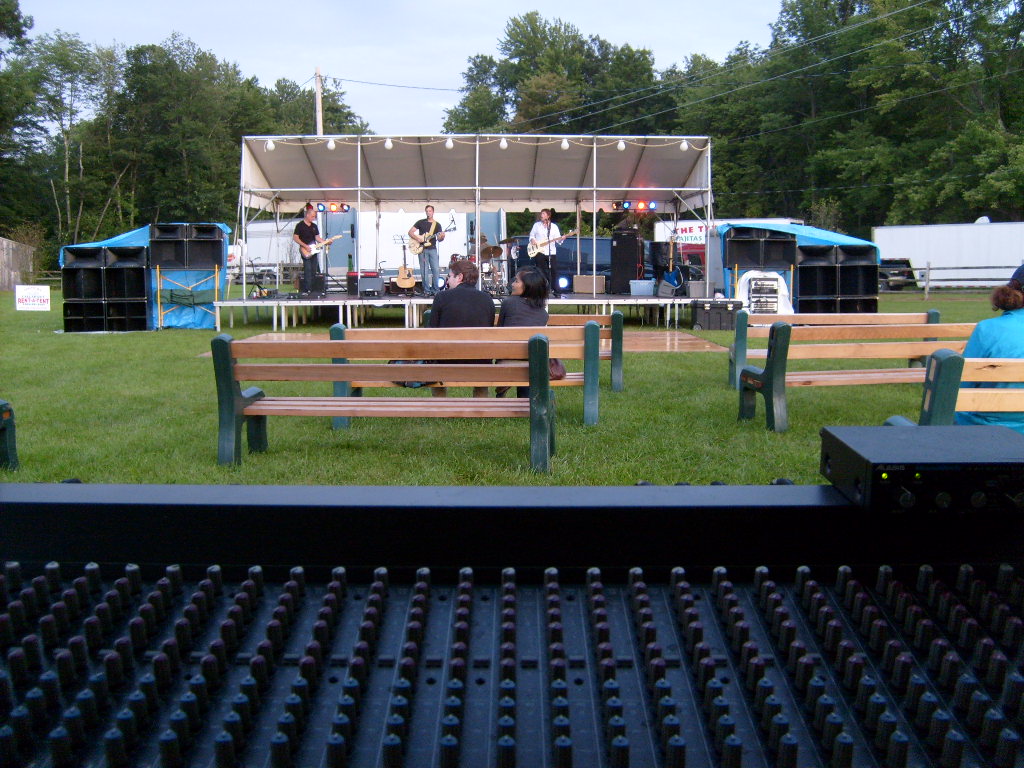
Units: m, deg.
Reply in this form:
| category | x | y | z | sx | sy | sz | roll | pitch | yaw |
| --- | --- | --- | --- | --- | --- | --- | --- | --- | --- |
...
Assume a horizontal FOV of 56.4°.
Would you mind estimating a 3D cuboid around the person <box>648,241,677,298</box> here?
| category | x | y | z | sx | sy | sz | roll | pitch | yaw |
| --- | --- | --- | --- | --- | --- | --- | --- | --- | --- |
| person | 3.500 | -2.834 | 23.676 | 0.881 | 1.368 | 0.904 | -4 | -1 | 20 |

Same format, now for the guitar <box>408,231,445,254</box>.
| category | x | y | z | sx | sy | sz | roll | pitch | yaw |
| --- | --- | --- | --- | --- | --- | --- | --- | --- | --- |
| guitar | -1.825 | -3.075 | 20.221 | 0.645 | 0.528 | 0.565 | -3 | 7 | -11 |

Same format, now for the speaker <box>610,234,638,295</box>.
| category | x | y | z | sx | sy | sz | roll | pitch | yaw |
| --- | --- | --- | --- | --- | --- | --- | --- | --- | --- |
| speaker | 2.316 | -2.530 | 19.892 | 0.592 | 1.323 | 0.575 | -1 | 7 | 4 |

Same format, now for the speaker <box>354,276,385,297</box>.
| category | x | y | z | sx | sy | sz | roll | pitch | yaw |
| --- | --- | --- | --- | --- | --- | --- | --- | --- | --- |
| speaker | -2.990 | -2.031 | 19.818 | 0.526 | 0.348 | 2.546 | -3 | 8 | -10 |

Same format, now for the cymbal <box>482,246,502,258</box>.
| category | x | y | z | sx | sy | sz | roll | pitch | yaw |
| --- | --- | --- | --- | --- | --- | --- | --- | --- | --- |
| cymbal | -0.492 | -3.033 | 21.929 | 0.408 | 0.276 | 0.809 | -2 | 7 | 3 |
